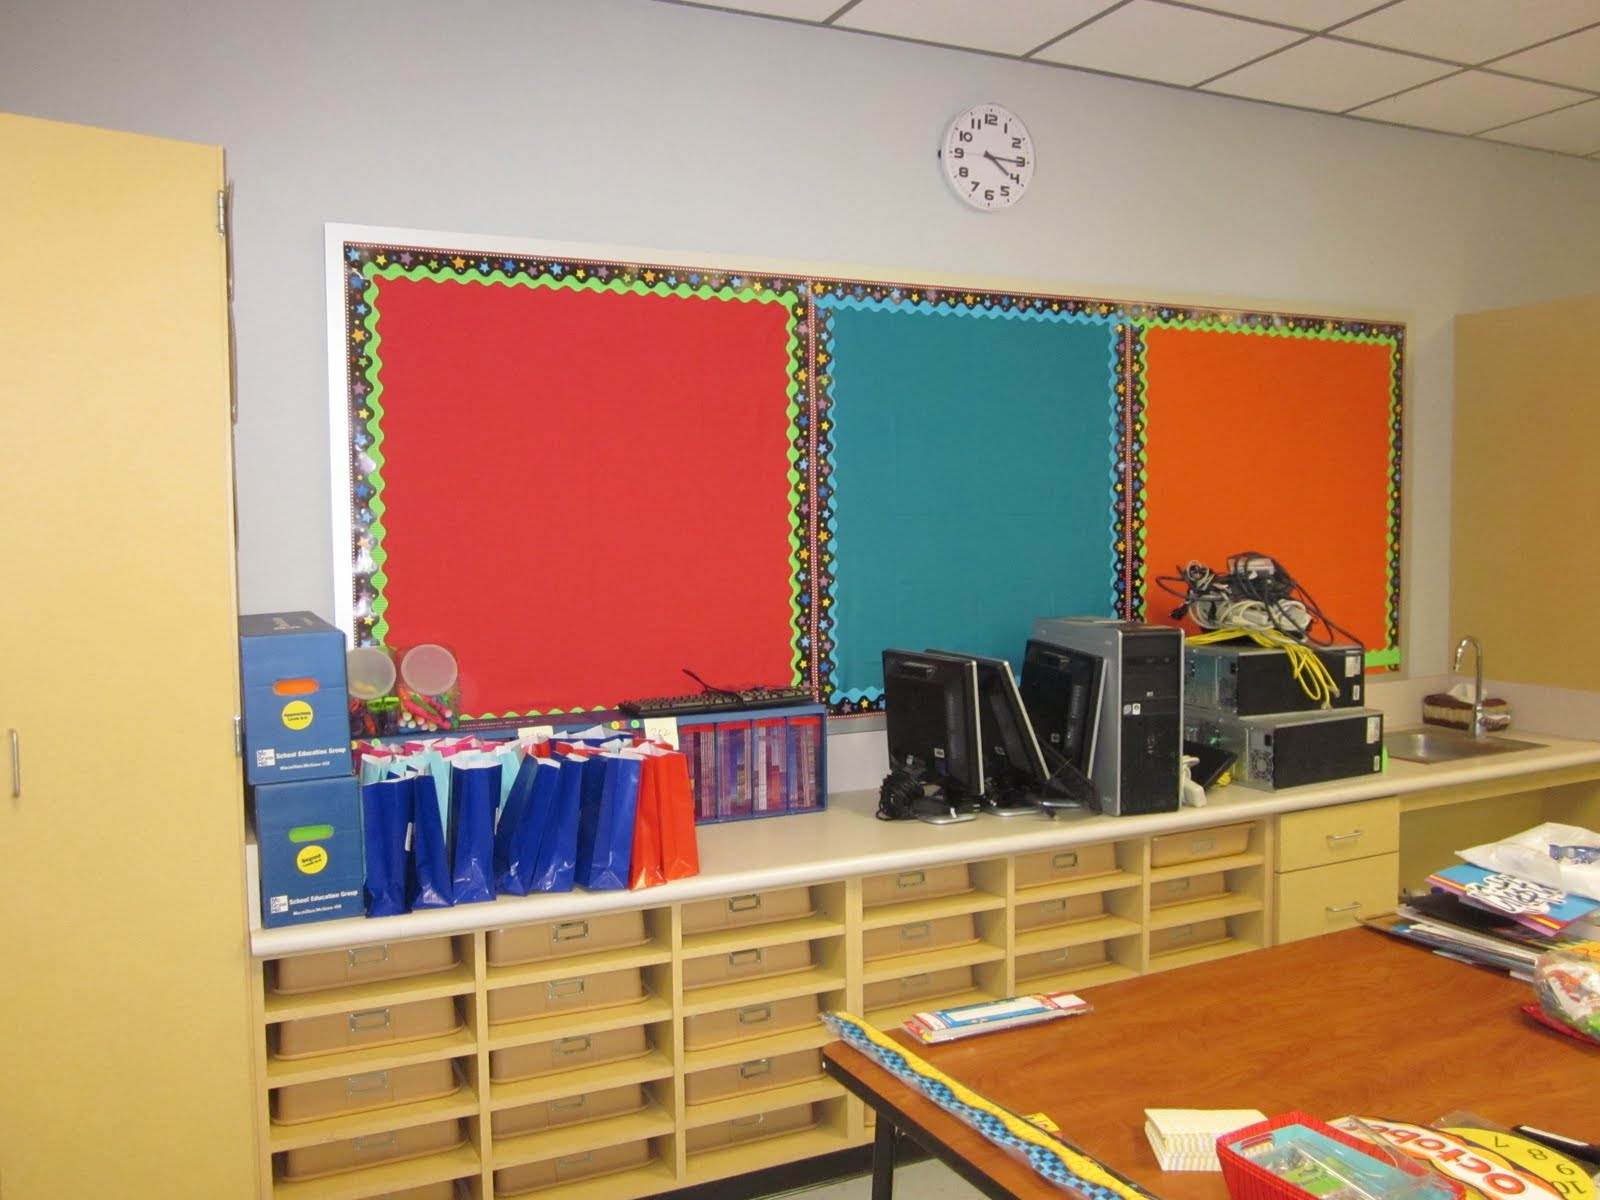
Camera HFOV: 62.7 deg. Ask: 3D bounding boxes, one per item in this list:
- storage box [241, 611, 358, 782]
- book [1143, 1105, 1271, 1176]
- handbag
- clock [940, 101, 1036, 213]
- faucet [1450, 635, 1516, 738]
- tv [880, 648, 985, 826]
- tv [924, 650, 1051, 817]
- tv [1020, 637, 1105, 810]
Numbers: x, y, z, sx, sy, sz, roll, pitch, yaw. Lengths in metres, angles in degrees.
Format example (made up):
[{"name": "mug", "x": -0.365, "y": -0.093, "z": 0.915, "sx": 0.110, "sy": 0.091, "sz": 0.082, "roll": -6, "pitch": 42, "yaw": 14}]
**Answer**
[{"name": "storage box", "x": -1.292, "y": 0.230, "z": 3.367, "sx": 0.288, "sy": 0.316, "sz": 0.504, "roll": -5, "pitch": 11, "yaw": -29}, {"name": "book", "x": 0.673, "y": 0.907, "z": 2.185, "sx": 0.137, "sy": 0.029, "sz": 0.128, "roll": 1, "pitch": 3, "yaw": -3}, {"name": "handbag", "x": -0.682, "y": 0.558, "z": 3.408, "sx": 0.824, "sy": 0.369, "sz": 0.269, "roll": -3, "pitch": 8, "yaw": -17}, {"name": "clock", "x": 0.638, "y": -1.457, "z": 4.333, "sx": 0.360, "sy": 0.333, "sz": 0.049, "roll": 22, "pitch": 38, "yaw": 37}, {"name": "faucet", "x": 2.575, "y": 0.316, "z": 5.096, "sx": 0.278, "sy": 0.362, "sz": 0.274, "roll": -4, "pitch": 9, "yaw": -28}, {"name": "tv", "x": 0.409, "y": 0.424, "z": 3.927, "sx": 0.295, "sy": 0.436, "sz": 0.478, "roll": -7, "pitch": 9, "yaw": -29}, {"name": "tv", "x": 0.559, "y": 0.425, "z": 3.957, "sx": 0.248, "sy": 0.440, "sz": 0.470, "roll": -7, "pitch": 7, "yaw": -19}, {"name": "tv", "x": 0.817, "y": 0.399, "z": 4.047, "sx": 0.084, "sy": 0.558, "sz": 0.516, "roll": -3, "pitch": 6, "yaw": -20}]
